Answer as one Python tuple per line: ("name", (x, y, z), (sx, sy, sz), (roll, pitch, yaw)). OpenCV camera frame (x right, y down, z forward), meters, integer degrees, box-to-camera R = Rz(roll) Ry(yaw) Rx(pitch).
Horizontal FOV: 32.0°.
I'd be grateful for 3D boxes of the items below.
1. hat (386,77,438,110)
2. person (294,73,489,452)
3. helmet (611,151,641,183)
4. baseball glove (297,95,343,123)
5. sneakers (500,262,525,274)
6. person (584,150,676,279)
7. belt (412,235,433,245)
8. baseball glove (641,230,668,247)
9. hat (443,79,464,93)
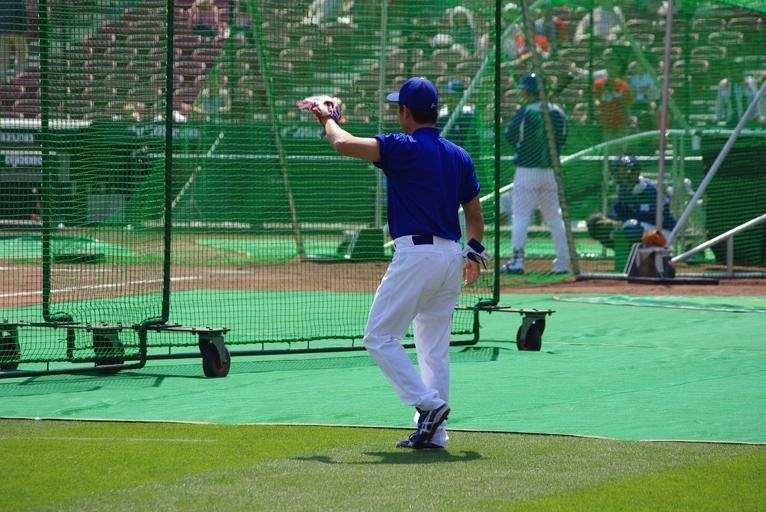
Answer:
("hat", (0.266, -1.403, 11.472), (0.465, 0.233, 0.341), (24, 19, 36))
("person", (0.222, 0.044, 11.299), (0.968, 2.969, 1.060), (0, 15, -2))
("helmet", (3.701, -1.343, 20.464), (0.468, 0.400, 0.384), (3, -5, -21))
("baseball glove", (-0.571, -1.272, 11.538), (0.332, 0.141, 0.292), (1, 2, 38))
("sneakers", (1.884, 0.170, 19.591), (0.289, 0.116, 0.156), (5, -3, 1))
("person", (3.650, -0.659, 20.468), (0.953, 1.699, 0.535), (3, 15, 7))
("belt", (0.318, -0.135, 11.197), (0.106, 0.061, 0.100), (1, 0, -9))
("baseball glove", (3.798, -0.231, 18.864), (0.293, 0.190, 0.324), (21, -15, -28))
("hat", (0.764, -1.834, 14.599), (0.168, 0.090, 0.170), (-11, -14, 33))
